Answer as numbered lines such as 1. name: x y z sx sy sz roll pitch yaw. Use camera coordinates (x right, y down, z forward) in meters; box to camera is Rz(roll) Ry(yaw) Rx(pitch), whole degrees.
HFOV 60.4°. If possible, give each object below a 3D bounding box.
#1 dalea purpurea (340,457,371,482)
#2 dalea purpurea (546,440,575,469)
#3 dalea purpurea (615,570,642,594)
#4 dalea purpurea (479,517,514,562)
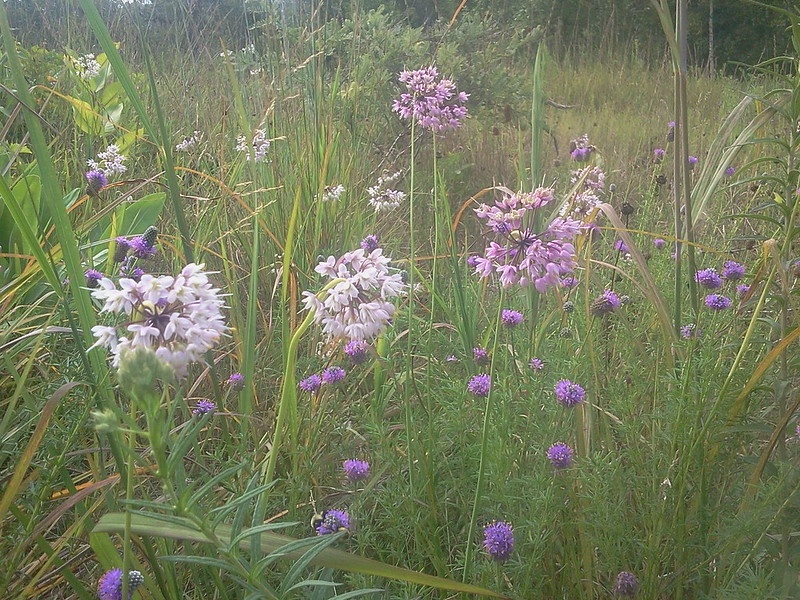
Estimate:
1. dalea purpurea: -0.181 0.691 2.908 0.093 0.120 0.106 1 9 -11
2. dalea purpurea: 0.651 0.647 2.814 0.095 0.069 0.089 19 30 38
3. dalea purpurea: 0.865 1.081 2.605 0.072 0.086 0.076 -26 -6 18
4. dalea purpurea: 0.382 0.930 2.710 0.121 0.165 0.143 3 18 20
